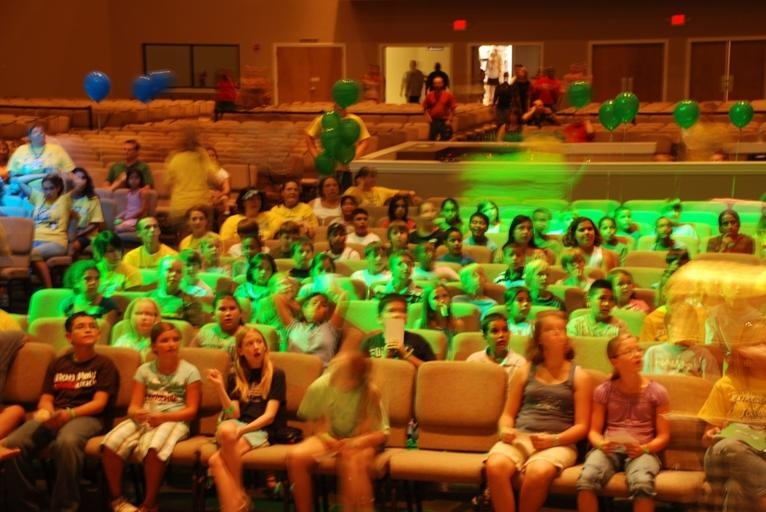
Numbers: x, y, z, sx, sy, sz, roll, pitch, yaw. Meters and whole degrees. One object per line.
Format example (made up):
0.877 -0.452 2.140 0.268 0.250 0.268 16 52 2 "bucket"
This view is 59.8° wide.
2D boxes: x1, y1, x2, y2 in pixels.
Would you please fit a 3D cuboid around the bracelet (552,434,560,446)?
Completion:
1.043 1.119 4.031 0.039 0.061 0.055 3 9 13 "bracelet"

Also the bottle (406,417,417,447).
0.197 1.218 4.613 0.064 0.186 0.173 1 6 1 "bottle"

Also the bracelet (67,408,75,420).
-2.143 1.075 4.548 0.051 0.013 0.052 21 45 17 "bracelet"
